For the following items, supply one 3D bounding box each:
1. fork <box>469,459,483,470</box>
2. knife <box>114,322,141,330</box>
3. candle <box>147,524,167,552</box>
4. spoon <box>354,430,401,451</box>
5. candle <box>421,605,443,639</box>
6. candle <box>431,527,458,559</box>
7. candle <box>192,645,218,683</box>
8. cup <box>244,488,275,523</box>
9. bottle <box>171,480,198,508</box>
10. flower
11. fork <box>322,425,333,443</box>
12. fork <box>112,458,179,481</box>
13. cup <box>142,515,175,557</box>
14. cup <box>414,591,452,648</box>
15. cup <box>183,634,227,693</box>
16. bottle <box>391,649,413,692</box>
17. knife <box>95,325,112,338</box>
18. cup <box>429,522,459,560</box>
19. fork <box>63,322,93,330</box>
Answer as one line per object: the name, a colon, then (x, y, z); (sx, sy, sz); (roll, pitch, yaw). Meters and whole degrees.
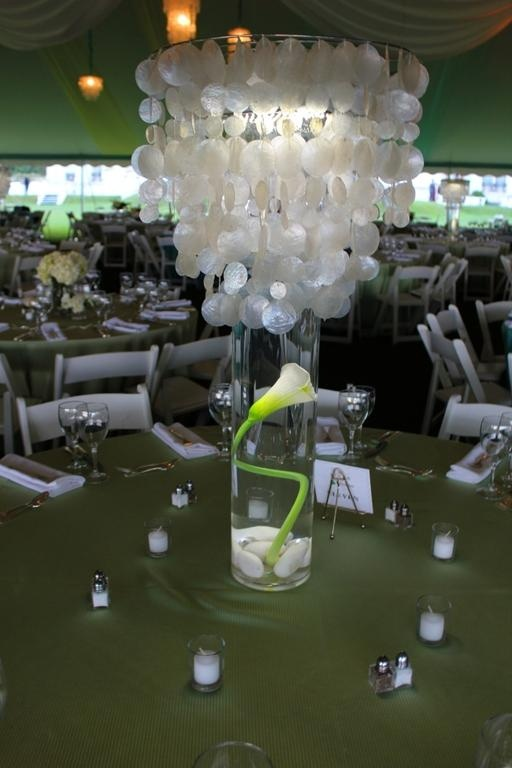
fork: (0.604, 0.221, 1.508); (0.023, 0.010, 0.028); (-9, 13, -2)
knife: (-0.771, -0.347, 3.371); (0.137, 0.045, 0.180); (-3, 14, -14)
candle: (-0.193, 0.303, 1.110); (0.040, 0.047, 0.040); (-3, 7, -21)
spoon: (0.364, 0.178, 1.699); (0.051, 0.018, 0.174); (-4, 6, 27)
candle: (0.269, 0.371, 0.851); (0.039, 0.047, 0.040); (3, 11, 21)
candle: (0.368, 0.313, 1.100); (0.045, 0.055, 0.049); (2, 4, 17)
candle: (-0.066, 0.384, 0.752); (0.040, 0.048, 0.041); (0, 7, -1)
cup: (0.008, 0.201, 0.912); (0.043, 0.058, 0.056); (8, 7, 40)
bottle: (-0.168, 0.265, 1.320); (0.039, 0.064, 0.062); (1, 0, 28)
flower: (0.042, 0.147, 0.888); (0.137, 0.352, 0.112); (-11, 16, -25)
fork: (0.218, 0.155, 1.701); (0.033, 0.035, 0.030); (0, -2, 41)
fork: (-0.289, 0.229, 1.512); (0.139, 0.006, 0.054); (-8, 23, -33)
cup: (-0.194, 0.307, 1.131); (0.054, 0.066, 0.056); (0, 8, 0)
cup: (0.274, 0.366, 0.865); (0.058, 0.070, 0.060); (2, 6, 0)
cup: (-0.065, 0.395, 0.770); (0.038, 0.046, 0.040); (-1, -13, 0)
bottle: (0.201, 0.398, 0.768); (0.032, 0.059, 0.031); (-1, 21, 0)
knife: (-0.894, -0.303, 3.275); (0.058, 0.043, 0.284); (-8, 18, -14)
cup: (0.372, 0.311, 1.108); (0.053, 0.064, 0.058); (1, 4, 5)
fork: (-1.084, -0.348, 3.396); (0.174, 0.024, 0.021); (-11, 16, -9)
